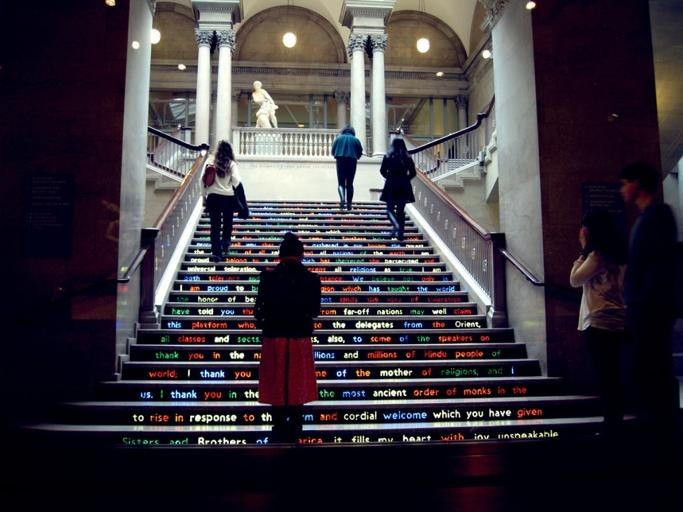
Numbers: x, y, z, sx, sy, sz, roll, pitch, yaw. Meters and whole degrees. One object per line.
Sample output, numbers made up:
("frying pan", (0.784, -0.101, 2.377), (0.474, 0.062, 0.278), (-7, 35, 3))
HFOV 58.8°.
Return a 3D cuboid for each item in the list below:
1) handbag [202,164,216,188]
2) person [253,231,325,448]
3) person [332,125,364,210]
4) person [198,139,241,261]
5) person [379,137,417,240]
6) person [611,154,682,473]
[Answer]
("handbag", (-1.723, -1.073, 8.143), (0.168, 0.287, 0.265), (1, 16, 13))
("person", (-0.446, 0.506, 5.006), (0.539, 1.294, 0.487), (-2, 13, -8))
("person", (0.108, -1.581, 11.218), (0.507, 1.599, 0.765), (0, 13, 2))
("person", (-1.653, -0.728, 8.310), (0.502, 1.667, 0.422), (-4, 13, -16))
("person", (0.866, -0.993, 9.408), (0.489, 1.654, 0.486), (0, 13, 3))
("person", (2.606, 0.638, 5.025), (0.467, 2.070, 0.606), (0, 13, 3))
